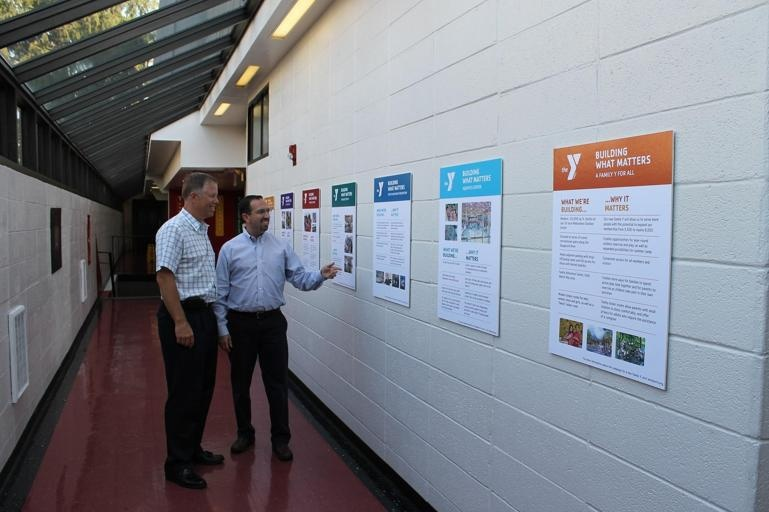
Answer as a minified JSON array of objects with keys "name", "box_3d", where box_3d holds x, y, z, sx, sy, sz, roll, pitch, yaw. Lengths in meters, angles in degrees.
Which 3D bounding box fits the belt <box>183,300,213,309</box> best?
[{"name":"belt","box_3d":[-1.398,0.354,3.531,0.051,0.071,0.194,6,7,43]}]

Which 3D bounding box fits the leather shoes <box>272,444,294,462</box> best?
[{"name":"leather shoes","box_3d":[-0.845,1.573,3.882,0.180,0.108,0.136,1,5,-4]}]

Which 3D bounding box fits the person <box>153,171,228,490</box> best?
[{"name":"person","box_3d":[-1.488,0.524,3.619,0.453,2.285,0.466,1,4,-6]}]

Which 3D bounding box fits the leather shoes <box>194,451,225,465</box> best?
[{"name":"leather shoes","box_3d":[-1.419,1.597,3.845,0.259,0.100,0.095,1,4,-10]}]

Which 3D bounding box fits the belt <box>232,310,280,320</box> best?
[{"name":"belt","box_3d":[-1.070,0.472,3.932,0.412,0.073,0.117,-1,6,-21]}]
